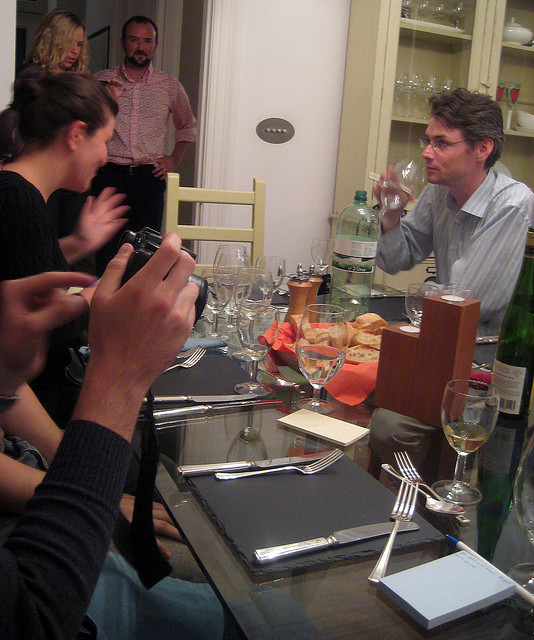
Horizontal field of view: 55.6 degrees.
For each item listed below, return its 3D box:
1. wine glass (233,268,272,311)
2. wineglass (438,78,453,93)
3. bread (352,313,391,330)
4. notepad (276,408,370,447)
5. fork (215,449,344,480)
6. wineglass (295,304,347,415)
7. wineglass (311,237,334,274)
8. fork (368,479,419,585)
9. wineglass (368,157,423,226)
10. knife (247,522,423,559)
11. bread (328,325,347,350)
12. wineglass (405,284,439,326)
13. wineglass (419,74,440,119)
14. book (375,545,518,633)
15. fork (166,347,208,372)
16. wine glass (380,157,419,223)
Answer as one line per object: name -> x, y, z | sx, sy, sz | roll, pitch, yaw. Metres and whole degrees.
wine glass -> -0.046, -0.073, 1.177 | 0.098, 0.125, 0.096 | 0, 3, -3
wineglass -> 1.137, -1.499, 3.210 | 0.092, 0.104, 0.168 | 7, 13, 16
bread -> 0.240, 0.002, 1.181 | 0.057, 0.017, 0.042 | 0, 12, -20
notepad -> 0.087, 0.167, 0.813 | 0.136, 0.012, 0.079 | 13, 16, 37
fork -> 0.030, 0.193, 0.661 | 0.197, 0.012, 0.047 | -4, 14, -27
wineglass -> 0.081, 0.075, 0.890 | 0.091, 0.194, 0.079 | -1, 18, -14
wineglass -> 0.196, -0.233, 1.811 | 0.071, 0.118, 0.215 | 5, 13, 6
fork -> 0.140, 0.217, 0.553 | 0.030, 0.023, 0.221 | 4, 21, 19
wineglass -> 0.463, -0.435, 1.799 | 0.139, 0.286, 0.121 | 7, 29, -16
knife -> 0.064, 0.222, 0.508 | 0.149, 0.007, 0.020 | -2, -5, -21
bread -> 0.120, 0.028, 0.862 | 0.036, 0.042, 0.037 | 5, 21, 12
wineglass -> 0.391, -0.032, 1.258 | 0.090, 0.098, 0.092 | 13, 1, 20
wineglass -> 1.039, -1.426, 3.235 | 0.162, 0.283, 0.078 | -5, 15, -31
book -> 0.162, 0.234, 0.456 | 0.124, 0.024, 0.074 | -5, 15, -32
fork -> -0.158, 0.071, 1.070 | 0.020, 0.019, 0.141 | 22, 29, 25
wine glass -> 0.475, -0.463, 1.849 | 0.124, 0.217, 0.335 | 6, 13, 12
